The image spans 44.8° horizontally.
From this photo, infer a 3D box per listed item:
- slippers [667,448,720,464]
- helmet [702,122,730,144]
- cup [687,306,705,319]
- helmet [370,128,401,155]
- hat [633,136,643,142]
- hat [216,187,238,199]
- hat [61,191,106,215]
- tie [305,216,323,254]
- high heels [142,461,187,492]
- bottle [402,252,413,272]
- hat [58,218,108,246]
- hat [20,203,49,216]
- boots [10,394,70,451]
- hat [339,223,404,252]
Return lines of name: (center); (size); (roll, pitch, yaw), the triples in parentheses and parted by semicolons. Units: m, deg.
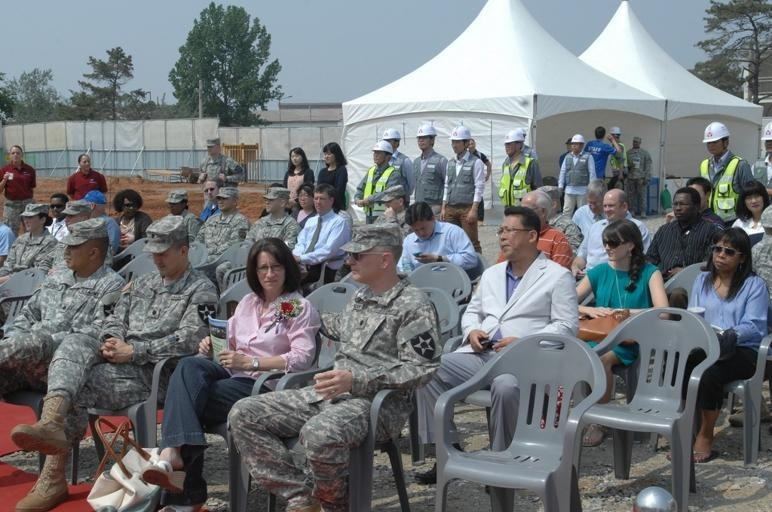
slippers: (2.534, 1.644, 7.700); (0.252, 0.154, 0.580); (-5, -7, 41)
helmet: (4.387, -1.578, 12.311); (0.519, 0.304, 0.371); (-11, 11, -42)
cup: (2.728, 0.490, 8.211); (0.158, 0.134, 0.168); (0, -3, 0)
helmet: (0.014, -1.665, 13.919); (0.367, 0.323, 0.549); (19, 16, 23)
hat: (5.637, -2.564, 21.009); (0.210, 0.116, 0.317); (2, 2, 21)
hat: (-2.203, -0.842, 12.887); (0.181, 0.088, 0.253); (0, 2, 3)
hat: (-3.999, -0.675, 12.401); (0.607, 0.336, 0.379); (1, -2, -26)
tie: (-0.919, -0.232, 11.833); (0.060, 0.496, 0.052); (17, -20, 12)
high heels: (-1.715, 1.657, 7.186); (0.378, 0.177, 0.157); (22, 25, -28)
bottle: (0.223, 0.084, 10.657); (0.155, 0.281, 0.153); (-2, 26, 1)
hat: (-2.700, -0.194, 8.344); (0.332, 0.129, 0.231); (-18, 10, -23)
hat: (-4.331, -0.554, 11.686); (0.287, 0.158, 0.397); (-1, 1, 24)
boots: (-2.761, 1.324, 7.491); (0.250, 0.495, 0.488); (-29, -40, 23)
hat: (-0.104, -0.143, 7.452); (0.338, 0.129, 0.252); (-9, 9, -23)
